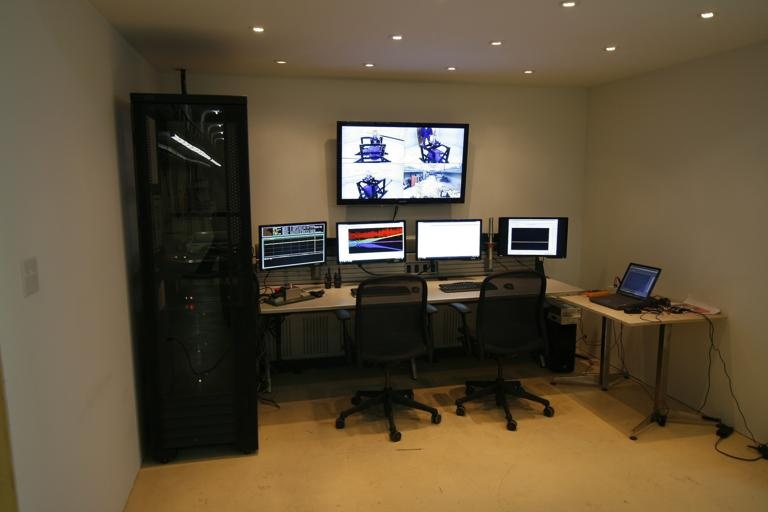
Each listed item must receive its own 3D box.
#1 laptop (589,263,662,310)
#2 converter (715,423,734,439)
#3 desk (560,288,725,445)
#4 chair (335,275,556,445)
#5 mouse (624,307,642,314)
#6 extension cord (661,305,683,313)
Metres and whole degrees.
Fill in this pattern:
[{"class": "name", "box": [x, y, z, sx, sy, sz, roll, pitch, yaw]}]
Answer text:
[{"class": "laptop", "box": [2.120, 0.278, 5.112, 0.482, 0.292, 0.436, -7, 11, -15]}, {"class": "converter", "box": [2.752, 1.426, 4.733, 0.116, 0.040, 0.085, -20, 13, -34]}, {"class": "desk", "box": [2.236, 0.904, 5.295, 0.936, 0.927, 1.314, -3, 6, -10]}, {"class": "chair", "box": [0.743, 0.770, 4.922, 1.454, 1.306, 0.600, -3, 9, -6]}, {"class": "mouse", "box": [2.077, 0.449, 4.877, 0.074, 0.028, 0.072, 0, 4, -8]}, {"class": "extension cord", "box": [2.426, 0.450, 4.876, 0.167, 0.047, 0.122, -7, 9, -32]}]
